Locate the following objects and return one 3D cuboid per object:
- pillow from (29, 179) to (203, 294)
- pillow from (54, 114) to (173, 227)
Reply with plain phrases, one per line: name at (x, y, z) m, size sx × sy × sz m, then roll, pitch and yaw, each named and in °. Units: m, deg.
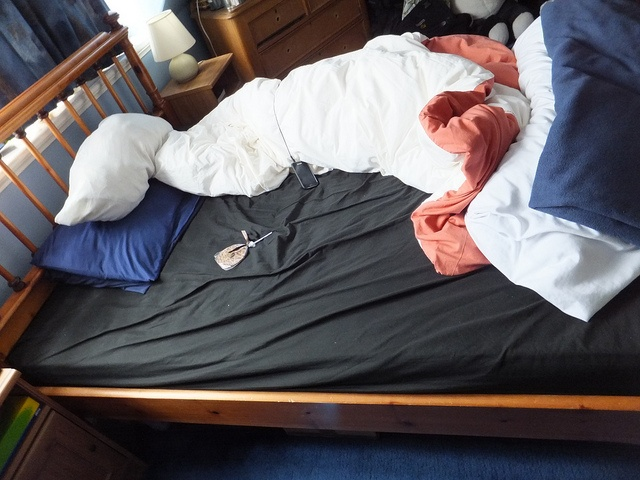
pillow at (-0.780, -0.005, 1.897) m, size 0.463 × 0.128 × 0.462 m, roll 14°, pitch 60°, yaw 19°
pillow at (-0.794, -0.337, 2.088) m, size 0.634 × 0.194 × 0.339 m, roll -17°, pitch 35°, yaw 45°
